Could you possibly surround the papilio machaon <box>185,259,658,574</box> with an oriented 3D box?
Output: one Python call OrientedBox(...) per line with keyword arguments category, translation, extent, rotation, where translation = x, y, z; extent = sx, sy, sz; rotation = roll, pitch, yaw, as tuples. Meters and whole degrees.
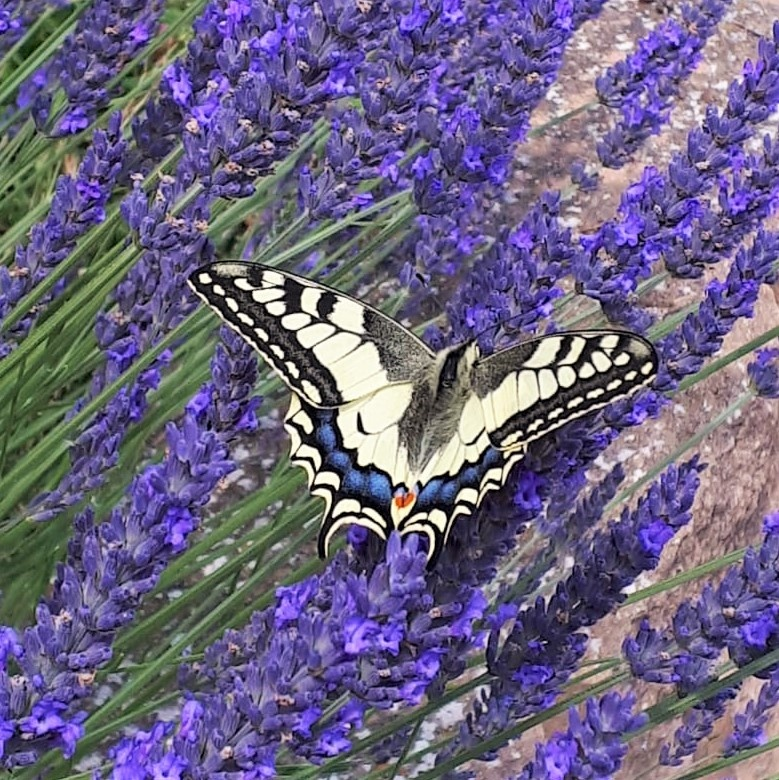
OrientedBox(category="papilio machaon", translation=(0.063, 0.020, 3.226), extent=(0.709, 0.547, 0.486), rotation=(5, 15, 33))
